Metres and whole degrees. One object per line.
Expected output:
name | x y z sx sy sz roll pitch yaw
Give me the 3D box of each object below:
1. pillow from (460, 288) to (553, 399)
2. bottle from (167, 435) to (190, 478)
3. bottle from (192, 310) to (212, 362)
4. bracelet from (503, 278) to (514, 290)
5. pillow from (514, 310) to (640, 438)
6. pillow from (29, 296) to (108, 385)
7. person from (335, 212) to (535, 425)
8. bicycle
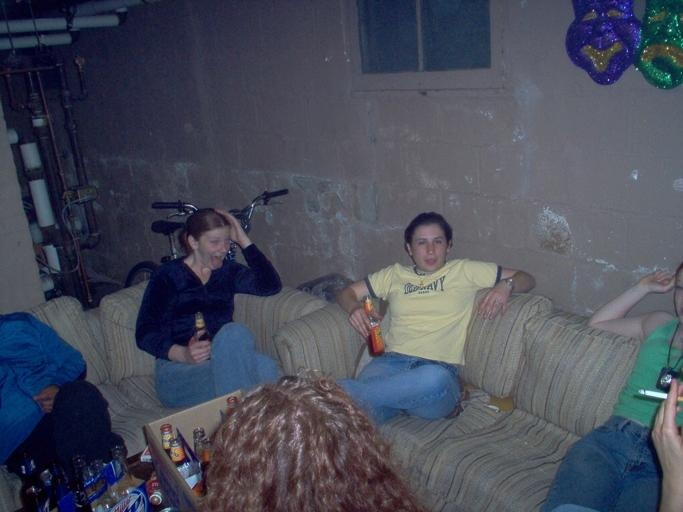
pillow | 0.929 0.473 2.710 0.135 0.507 0.497 10 9 -25
bottle | -0.647 0.776 2.009 0.068 0.157 0.158 -10 18 -24
bottle | -0.802 0.468 2.897 0.083 0.292 0.086 -2 46 2
bracelet | 0.889 0.155 2.708 0.041 0.020 0.054 20 67 13
pillow | 1.099 0.568 2.412 0.160 0.513 0.512 15 5 -40
pillow | -1.576 0.480 3.004 0.148 0.501 0.473 -33 45 6
person | 0.553 0.296 3.066 0.771 0.880 1.278 8 11 33
bicycle | -1.145 -0.113 4.073 1.228 0.844 0.871 9 9 29
